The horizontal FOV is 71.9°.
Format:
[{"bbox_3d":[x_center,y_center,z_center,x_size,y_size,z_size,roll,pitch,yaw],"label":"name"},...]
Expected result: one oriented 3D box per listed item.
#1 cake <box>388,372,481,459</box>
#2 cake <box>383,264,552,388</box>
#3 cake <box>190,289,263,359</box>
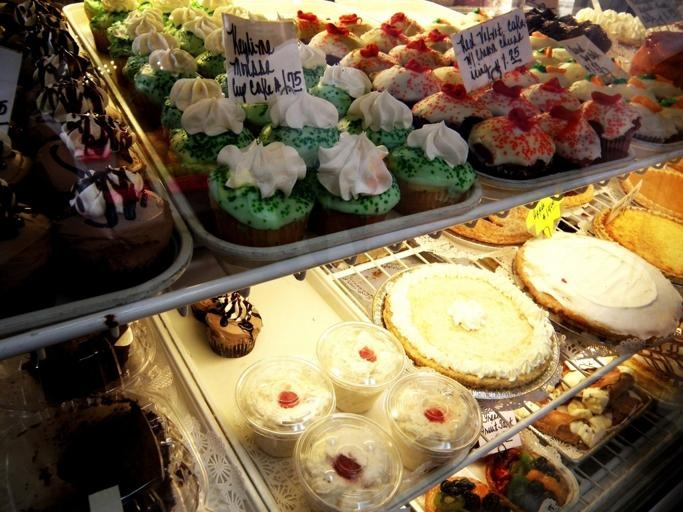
[{"bbox_3d":[0.366,0.620,1.848,0.301,0.148,0.301,3,45,-9],"label":"cake"},{"bbox_3d":[0.571,0.344,2.240,0.622,0.157,0.601,7,40,-14],"label":"cake"},{"bbox_3d":[-0.543,0.262,2.213,0.307,0.277,0.389,-5,36,-22],"label":"cake"}]
